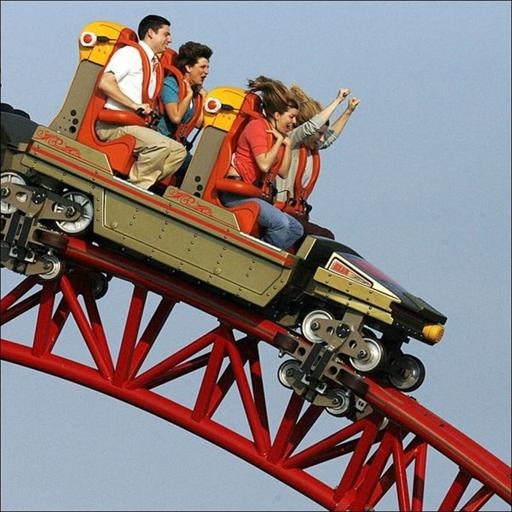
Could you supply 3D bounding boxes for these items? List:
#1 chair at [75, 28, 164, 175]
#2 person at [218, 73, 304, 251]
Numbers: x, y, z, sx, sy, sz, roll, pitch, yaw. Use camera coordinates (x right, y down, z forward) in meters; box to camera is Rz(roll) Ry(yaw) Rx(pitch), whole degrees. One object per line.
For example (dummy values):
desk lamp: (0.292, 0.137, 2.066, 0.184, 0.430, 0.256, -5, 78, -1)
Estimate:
chair: (-1.521, -1.669, 17.730, 0.452, 1.495, 0.952, 5, 0, 36)
person: (0.139, -1.094, 17.735, 0.840, 1.603, 1.259, 5, -45, 16)
